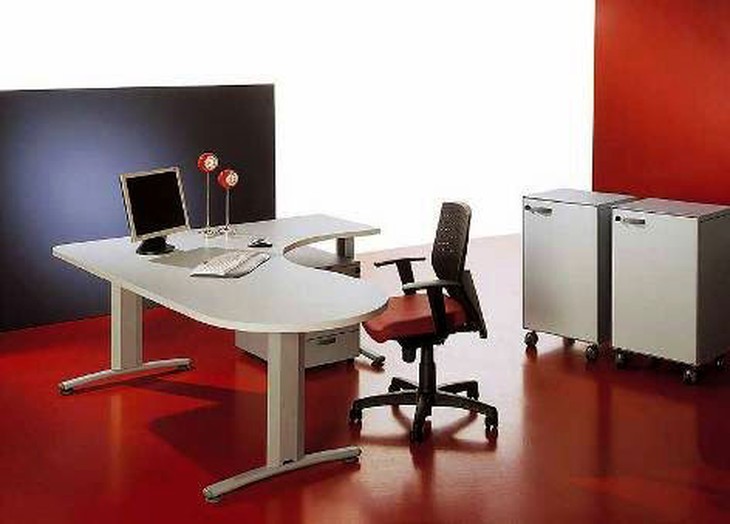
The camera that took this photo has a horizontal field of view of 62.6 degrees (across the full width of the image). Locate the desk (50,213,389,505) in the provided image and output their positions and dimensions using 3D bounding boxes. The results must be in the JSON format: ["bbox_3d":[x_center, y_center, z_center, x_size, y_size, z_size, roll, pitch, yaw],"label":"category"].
[{"bbox_3d":[-0.508,0.249,3.656,1.689,0.827,1.983,-4,11,-35],"label":"desk"}]

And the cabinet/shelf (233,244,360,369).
[{"bbox_3d":[-0.478,0.299,5.125,0.869,1.035,0.947,-6,11,-35],"label":"cabinet/shelf"}]
